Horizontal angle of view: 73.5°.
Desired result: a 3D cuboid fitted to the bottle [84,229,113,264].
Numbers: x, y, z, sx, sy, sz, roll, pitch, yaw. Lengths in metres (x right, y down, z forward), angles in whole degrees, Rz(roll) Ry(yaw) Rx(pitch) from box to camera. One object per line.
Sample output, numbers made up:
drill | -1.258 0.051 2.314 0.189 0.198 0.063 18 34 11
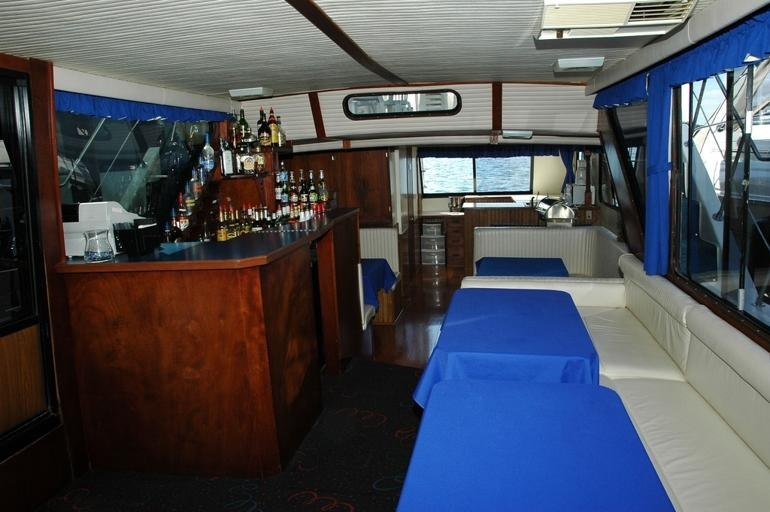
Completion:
bottle | -1.642 -0.062 2.984 0.207 0.194 0.132 -3 9 -23

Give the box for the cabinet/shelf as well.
cabinet/shelf | -1.231 -0.602 4.862 0.571 0.786 0.839 -6 28 -14

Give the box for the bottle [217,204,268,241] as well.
bottle | -1.215 -0.293 4.430 0.347 0.328 0.184 2 14 1

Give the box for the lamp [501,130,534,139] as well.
lamp | 1.341 -1.272 5.302 0.320 0.091 0.152 -2 9 2
